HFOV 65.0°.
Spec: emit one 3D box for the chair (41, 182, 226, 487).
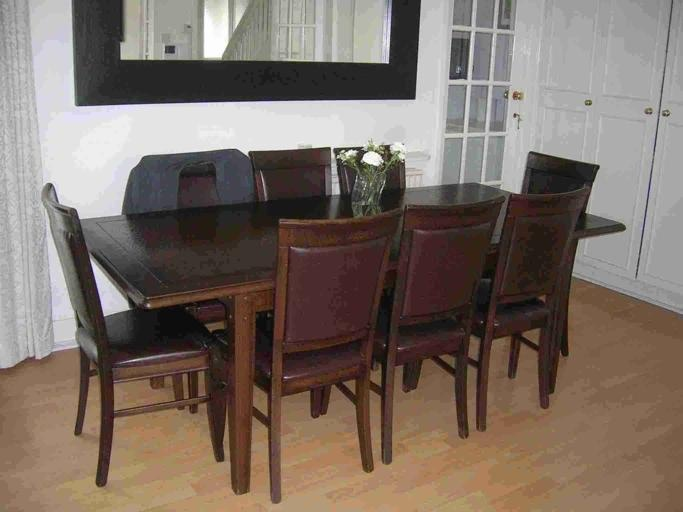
[{"bbox_3d":[-0.912,0.330,2.312,0.663,1.249,0.507,-4,17,-15],"label":"chair"}]
